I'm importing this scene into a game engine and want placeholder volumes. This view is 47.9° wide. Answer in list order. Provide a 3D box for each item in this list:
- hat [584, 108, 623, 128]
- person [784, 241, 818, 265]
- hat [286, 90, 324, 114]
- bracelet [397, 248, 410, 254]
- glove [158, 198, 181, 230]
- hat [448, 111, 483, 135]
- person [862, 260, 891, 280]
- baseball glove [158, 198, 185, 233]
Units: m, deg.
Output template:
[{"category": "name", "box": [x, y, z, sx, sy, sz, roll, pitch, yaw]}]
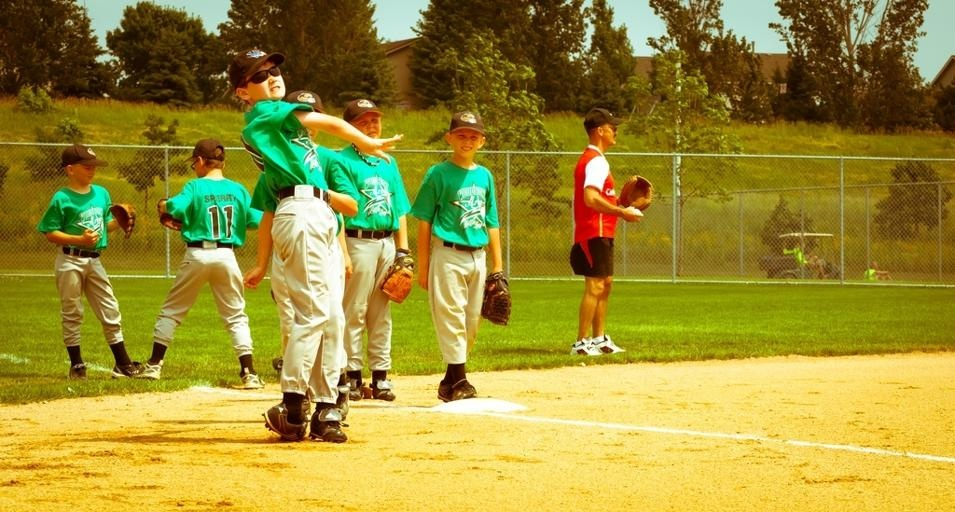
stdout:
[{"category": "hat", "box": [2.799, -3.116, 24.358, 0.703, 0.306, 0.469, -5, 11, -7]}, {"category": "person", "box": [11.265, -0.095, 37.564, 0.250, 0.743, 0.715, -42, -1, 22]}, {"category": "hat", "box": [-3.441, -3.063, 21.100, 0.674, 0.320, 0.488, -6, -6, 35]}, {"category": "bracelet", "box": [-1.584, -0.114, 22.089, 0.283, 0.109, 0.093, 5, -3, 23]}, {"category": "glove", "box": [-6.577, -0.857, 23.064, 0.528, 0.325, 0.691, 20, -34, 13]}, {"category": "hat", "box": [-0.259, -2.762, 22.155, 0.672, 0.429, 1.030, 2, -1, -4]}, {"category": "person", "box": [13.418, 0.520, 36.420, 1.124, 0.408, 0.813, 5, -8, -44]}, {"category": "baseball glove", "box": [-6.561, -0.867, 23.093, 0.548, 0.698, 0.340, 19, 47, 18]}]
